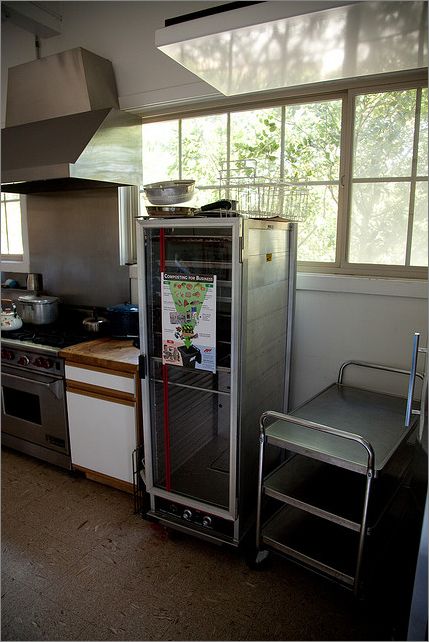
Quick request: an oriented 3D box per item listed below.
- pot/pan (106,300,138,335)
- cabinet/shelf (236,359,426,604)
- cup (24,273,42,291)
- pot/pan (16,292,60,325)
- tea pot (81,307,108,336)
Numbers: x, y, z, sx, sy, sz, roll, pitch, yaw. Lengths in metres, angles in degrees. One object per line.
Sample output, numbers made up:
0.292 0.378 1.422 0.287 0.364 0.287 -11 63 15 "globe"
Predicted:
-0.512 -0.020 2.607 0.151 0.152 0.194 -2 10 -11 "pot/pan"
0.423 0.548 2.061 0.517 0.809 0.957 9 17 29 "cabinet/shelf"
-1.278 -0.271 3.284 0.139 0.145 0.090 -3 -3 22 "cup"
-1.136 -0.081 2.968 0.185 0.144 0.211 -4 8 -32 "pot/pan"
-0.693 -0.005 2.789 0.166 0.192 0.168 0 6 0 "tea pot"
